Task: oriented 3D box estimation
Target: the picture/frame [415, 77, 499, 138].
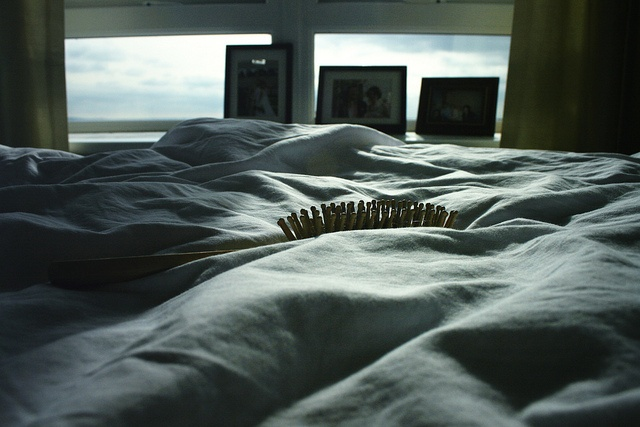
[{"bbox_3d":[0.542,-0.416,2.299,0.255,0.202,0.018,3,-2,11],"label":"picture/frame"}]
